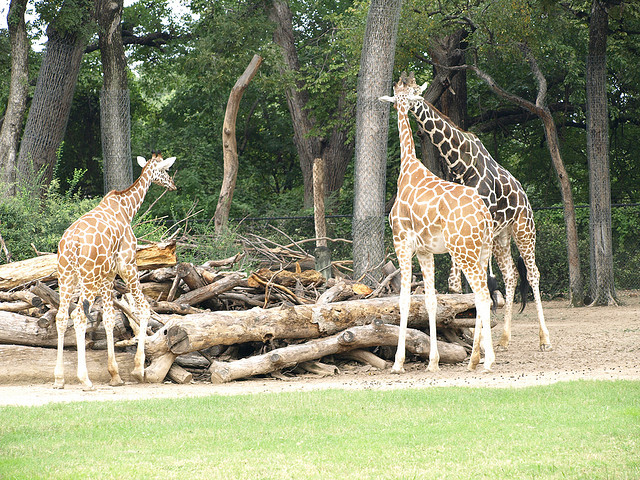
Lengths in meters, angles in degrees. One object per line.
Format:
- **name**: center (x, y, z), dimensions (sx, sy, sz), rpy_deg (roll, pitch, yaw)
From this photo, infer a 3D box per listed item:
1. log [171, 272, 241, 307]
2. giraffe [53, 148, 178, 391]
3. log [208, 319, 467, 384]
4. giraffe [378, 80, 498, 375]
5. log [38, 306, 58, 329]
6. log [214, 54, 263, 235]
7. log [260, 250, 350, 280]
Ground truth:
- **log**: center (-2.515, 0.855, 24.298), dimensions (0.429, 0.552, 1.978), rpy_deg (28, 11, 1)
- **giraffe**: center (-4.003, 0.551, 22.171), dimensions (1.950, 4.572, 0.875), rpy_deg (2, -5, -24)
- **log**: center (0.173, 2.227, 22.860), dimensions (3.519, 0.533, 0.660), rpy_deg (-6, -44, -17)
- **giraffe**: center (2.318, -0.314, 22.605), dimensions (2.002, 5.811, 0.771), rpy_deg (-3, -6, 29)
- **log**: center (-5.243, 1.528, 22.566), dimensions (0.182, 0.198, 0.404), rpy_deg (32, 33, 13)
- **log**: center (-2.073, -2.351, 28.754), dimensions (1.039, 4.667, 1.829), rpy_deg (0, -5, -5)
- **log**: center (-0.200, 0.621, 25.451), dimensions (1.906, 0.558, 1.640), rpy_deg (0, -5, -12)
